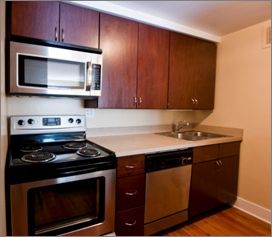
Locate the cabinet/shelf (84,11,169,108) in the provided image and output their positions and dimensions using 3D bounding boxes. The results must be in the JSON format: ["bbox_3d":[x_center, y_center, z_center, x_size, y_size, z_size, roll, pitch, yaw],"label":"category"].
[{"bbox_3d":[-0.131,-0.625,2.380,0.935,0.899,0.308,-4,9,-39],"label":"cabinet/shelf"}]

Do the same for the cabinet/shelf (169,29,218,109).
[{"bbox_3d":[0.713,-0.649,2.922,0.919,0.925,0.387,-1,7,-31],"label":"cabinet/shelf"}]
